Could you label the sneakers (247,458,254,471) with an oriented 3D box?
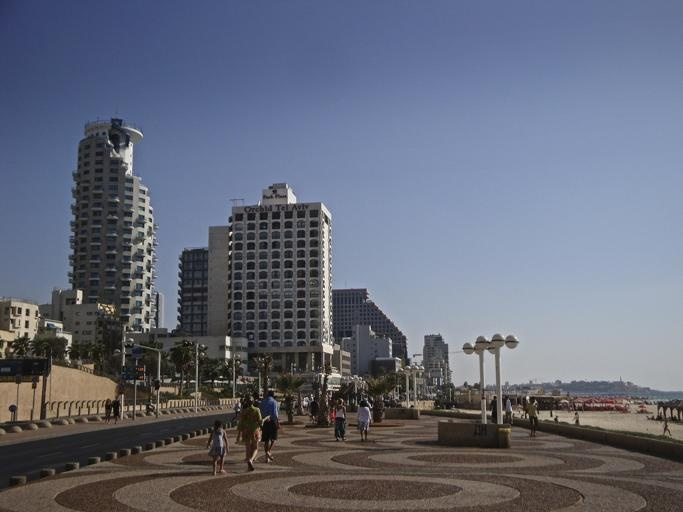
[{"bbox_3d":[-3.097,7.065,24.902,0.152,0.542,0.220,1,22,-2],"label":"sneakers"}]
